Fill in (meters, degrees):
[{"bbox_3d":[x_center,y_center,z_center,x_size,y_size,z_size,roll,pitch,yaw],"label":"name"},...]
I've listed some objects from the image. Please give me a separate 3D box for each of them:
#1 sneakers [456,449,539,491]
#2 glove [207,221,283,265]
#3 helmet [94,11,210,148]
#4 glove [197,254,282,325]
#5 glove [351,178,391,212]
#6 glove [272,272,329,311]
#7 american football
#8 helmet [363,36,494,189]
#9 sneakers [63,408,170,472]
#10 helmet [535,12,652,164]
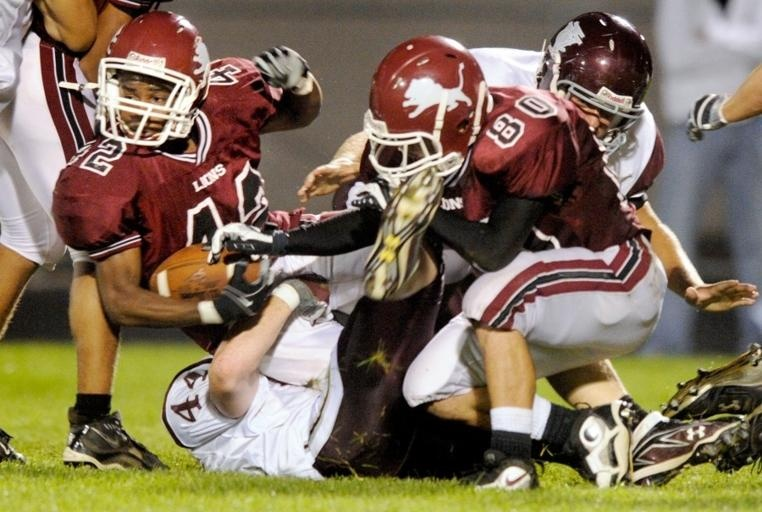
[{"bbox_3d":[0.421,0.758,3.533,0.296,0.124,0.108,0,-12,25],"label":"sneakers"},{"bbox_3d":[-0.507,-0.055,3.655,0.322,0.195,0.155,1,42,-4],"label":"glove"},{"bbox_3d":[-0.899,-0.722,4.015,0.433,0.467,0.549,13,19,2],"label":"helmet"},{"bbox_3d":[-0.508,0.119,3.721,0.318,0.165,0.113,-35,17,-36],"label":"glove"},{"bbox_3d":[-0.052,-0.221,3.731,0.105,0.067,0.144,-40,25,-29],"label":"glove"},{"bbox_3d":[-0.299,0.148,3.927,0.134,0.094,0.080,42,47,9],"label":"glove"},{"bbox_3d":[-0.654,0.066,3.789,0.403,0.184,0.185,-5,-2,-5],"label":"american football"},{"bbox_3d":[0.174,-0.578,3.861,0.565,0.459,0.412,-22,29,-33],"label":"helmet"},{"bbox_3d":[-1.034,0.741,4.009,0.173,0.234,0.529,-10,-18,39],"label":"sneakers"},{"bbox_3d":[0.857,-0.711,4.107,0.489,0.545,0.511,21,34,3],"label":"helmet"}]
